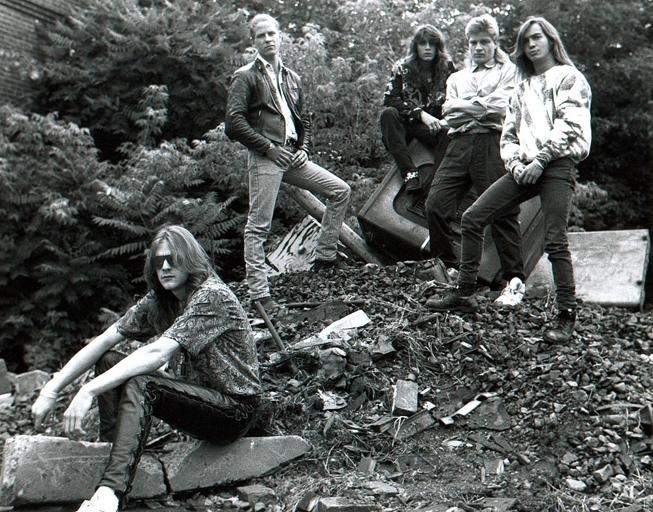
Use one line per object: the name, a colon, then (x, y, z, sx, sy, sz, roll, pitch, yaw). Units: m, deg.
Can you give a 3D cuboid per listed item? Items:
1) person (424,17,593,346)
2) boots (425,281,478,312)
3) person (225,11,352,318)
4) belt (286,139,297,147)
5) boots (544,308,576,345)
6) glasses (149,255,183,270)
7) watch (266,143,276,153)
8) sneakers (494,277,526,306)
person: (1.777, -0.705, 5.499, 1.159, 2.616, 0.889, 10, 20, 23)
boots: (1.144, 0.368, 5.865, 0.529, 0.289, 0.220, 3, 12, 9)
person: (-0.462, -1.052, 6.609, 1.152, 2.769, 0.950, -9, 21, -31)
belt: (-0.383, -1.210, 6.754, 0.097, 0.081, 0.088, -18, -16, 14)
boots: (2.053, 0.590, 5.413, 0.206, 0.235, 0.493, 5, 18, 42)
glasses: (-1.155, 0.043, 4.409, 0.131, 0.053, 0.142, -4, -23, 8)
watch: (-0.570, -1.102, 6.396, 0.085, 0.102, 0.070, -8, 21, -29)
sneakers: (1.779, 0.360, 6.002, 0.166, 0.200, 0.433, 20, 43, 28)
